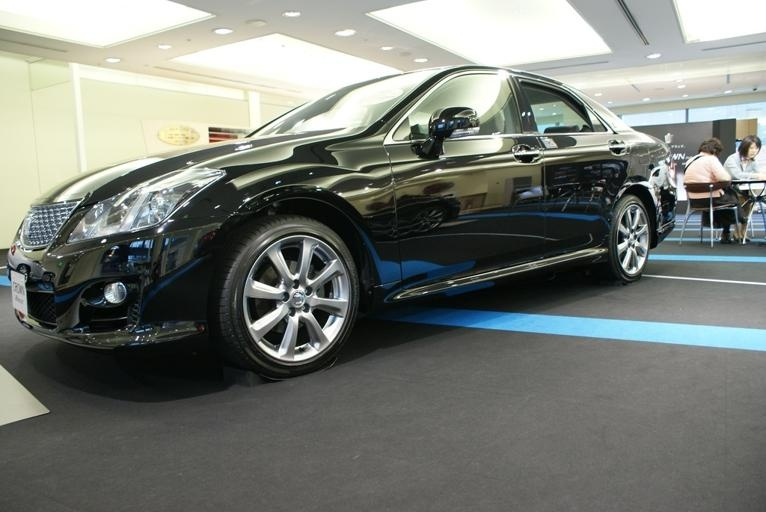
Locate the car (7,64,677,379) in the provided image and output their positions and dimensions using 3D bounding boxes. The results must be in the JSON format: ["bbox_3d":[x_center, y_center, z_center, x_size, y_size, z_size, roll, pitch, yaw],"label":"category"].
[{"bbox_3d":[0.374,-0.405,3.383,4.916,1.335,2.125,-4,3,-31],"label":"car"}]
